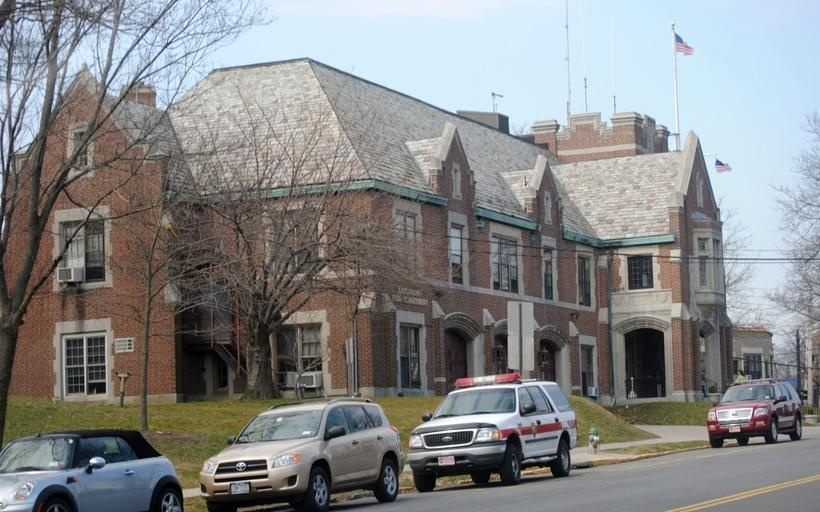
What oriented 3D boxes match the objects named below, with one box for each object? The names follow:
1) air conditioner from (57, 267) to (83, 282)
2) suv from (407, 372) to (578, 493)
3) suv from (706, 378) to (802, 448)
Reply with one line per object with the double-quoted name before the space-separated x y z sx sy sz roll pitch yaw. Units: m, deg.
"air conditioner" -15.134 0.908 50.048 1.036 0.763 0.599 0 -3 16
"suv" 2.686 5.383 34.694 5.393 3.435 2.313 5 -14 -35
"suv" 13.893 6.265 44.397 2.099 1.935 4.026 -7 -13 28
